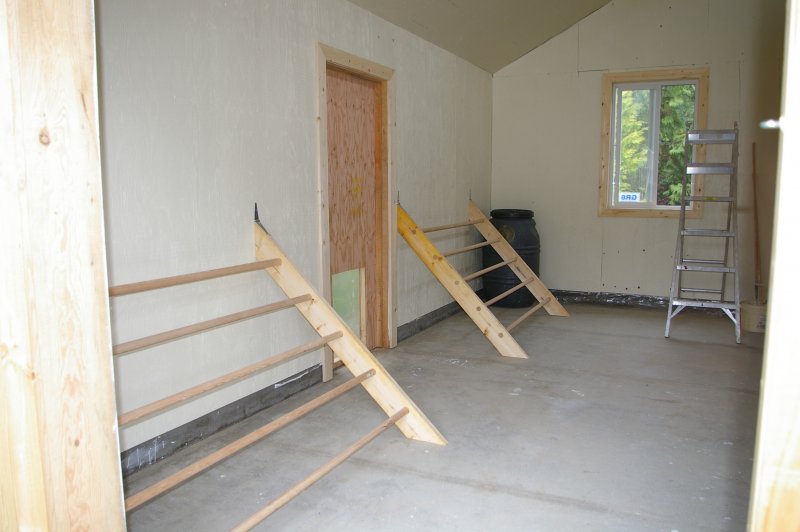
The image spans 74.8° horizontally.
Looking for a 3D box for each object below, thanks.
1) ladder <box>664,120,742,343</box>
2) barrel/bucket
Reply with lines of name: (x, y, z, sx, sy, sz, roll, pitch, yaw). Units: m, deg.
ladder: (3.100, -0.372, 5.291, 0.664, 2.006, 1.434, 3, 17, 28)
barrel/bucket: (1.298, -0.094, 6.236, 0.790, 1.106, 0.786, -1, 11, 0)
